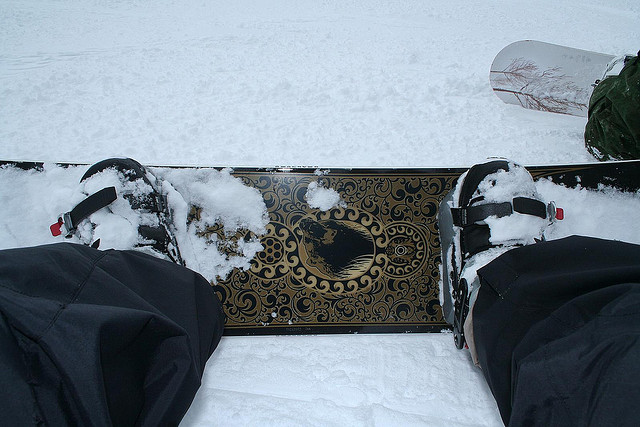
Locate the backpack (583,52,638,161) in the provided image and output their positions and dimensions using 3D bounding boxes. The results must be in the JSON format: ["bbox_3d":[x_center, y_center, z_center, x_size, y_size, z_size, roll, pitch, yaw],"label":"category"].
[{"bbox_3d":[0.960,-0.322,1.851,0.113,0.165,0.415,17,94,25],"label":"backpack"}]
